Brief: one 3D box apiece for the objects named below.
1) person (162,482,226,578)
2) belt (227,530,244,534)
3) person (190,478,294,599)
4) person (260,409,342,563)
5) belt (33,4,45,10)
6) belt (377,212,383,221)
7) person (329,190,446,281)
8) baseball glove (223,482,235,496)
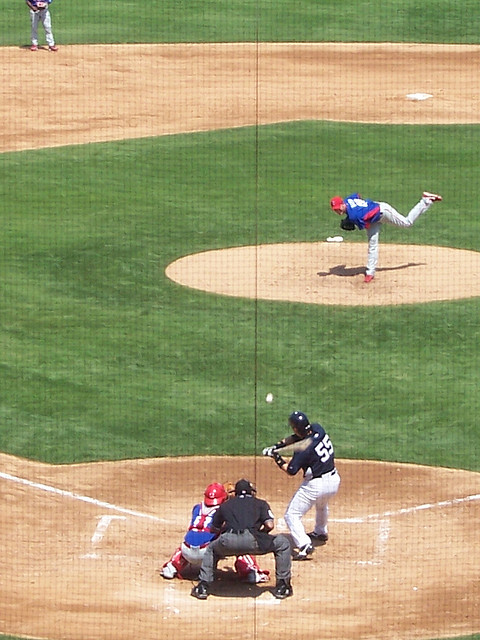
[{"bbox_3d":[-0.509,2.530,19.182,0.580,0.546,1.231,17,76,16],"label":"person"},{"bbox_3d":[-0.044,2.450,18.621,0.188,0.029,0.036,5,45,4],"label":"belt"},{"bbox_3d":[0.037,2.625,18.904,1.196,1.101,0.881,-1,45,-1],"label":"person"},{"bbox_3d":[0.761,1.981,19.668,0.912,1.798,0.844,6,16,24],"label":"person"},{"bbox_3d":[-4.694,-7.250,37.976,0.256,0.143,0.074,-5,45,-6],"label":"belt"},{"bbox_3d":[2.259,-1.639,26.184,0.021,0.095,0.097,29,27,-8],"label":"belt"},{"bbox_3d":[2.474,-1.389,26.607,1.797,1.413,0.639,-6,17,6],"label":"person"},{"bbox_3d":[-0.134,2.144,20.363,0.179,0.049,0.196,1,39,-11],"label":"baseball glove"}]
